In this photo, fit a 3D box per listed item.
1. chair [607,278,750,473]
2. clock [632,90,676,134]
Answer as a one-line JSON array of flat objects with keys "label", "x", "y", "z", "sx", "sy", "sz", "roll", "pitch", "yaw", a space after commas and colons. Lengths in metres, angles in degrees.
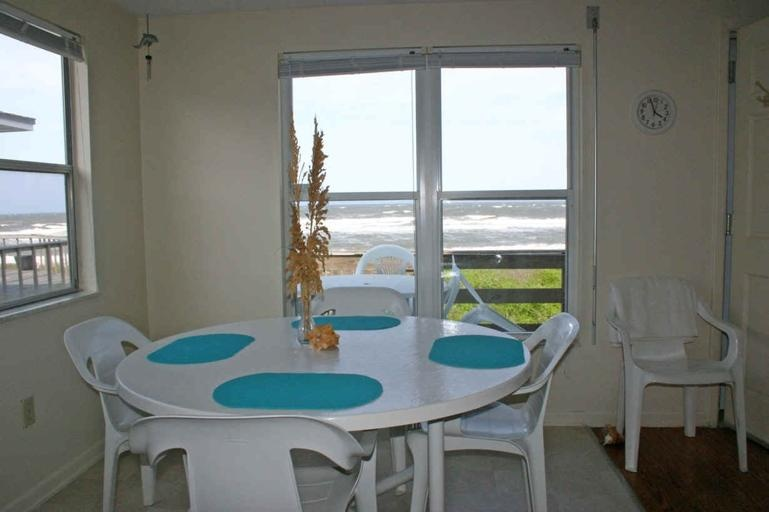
[{"label": "chair", "x": 2.031, "y": 0.810, "z": 4.479, "sx": 0.783, "sy": 1.273, "sz": 0.895, "roll": -1, "pitch": 0, "yaw": 3}, {"label": "clock", "x": 2.062, "y": -1.102, "z": 4.678, "sx": 0.295, "sy": 0.320, "sz": 0.070, "roll": 1, "pitch": 5, "yaw": -1}]
